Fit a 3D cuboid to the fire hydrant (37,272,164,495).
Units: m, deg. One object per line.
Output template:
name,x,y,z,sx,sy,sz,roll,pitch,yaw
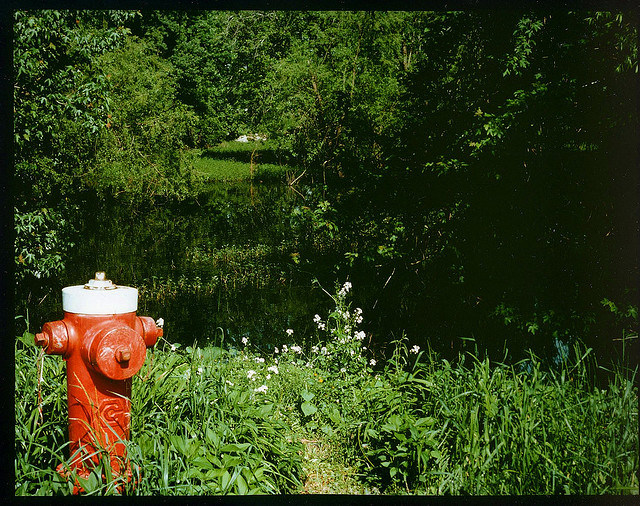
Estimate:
fire hydrant,-1.398,0.876,4.471,0.688,1.491,0.313,3,4,2
